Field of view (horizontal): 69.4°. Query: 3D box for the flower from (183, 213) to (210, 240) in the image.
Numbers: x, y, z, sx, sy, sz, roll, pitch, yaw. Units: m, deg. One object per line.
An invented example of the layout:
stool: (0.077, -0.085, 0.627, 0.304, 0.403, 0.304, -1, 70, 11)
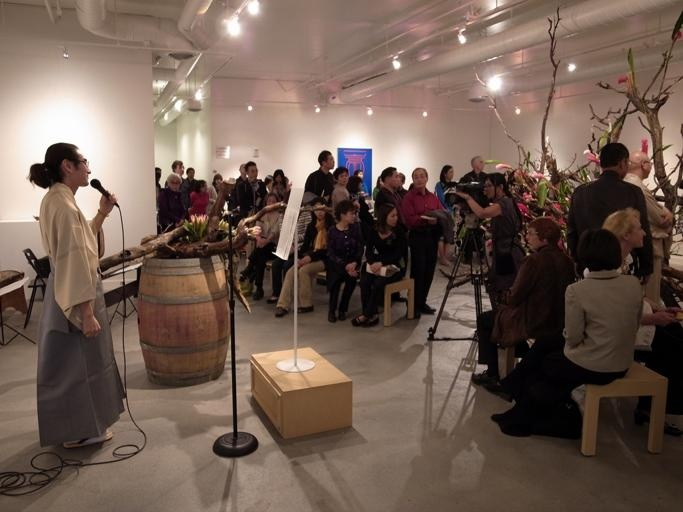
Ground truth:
flower: (-1.183, -0.240, 4.111, 0.186, 0.233, 0.200, -2, 2, -4)

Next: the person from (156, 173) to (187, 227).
person: (-2.692, -0.824, 7.777, 0.433, 0.886, 1.144, -4, 12, -19)

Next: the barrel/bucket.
barrel/bucket: (-1.199, 0.492, 4.233, 0.838, 1.294, 0.942, 1, 6, 3)

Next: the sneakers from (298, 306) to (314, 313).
sneakers: (-0.422, 0.658, 6.003, 0.187, 0.086, 0.071, 4, -2, -30)

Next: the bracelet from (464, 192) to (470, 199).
bracelet: (1.202, -0.570, 4.689, 0.011, 0.051, 0.048, 2, 3, -30)

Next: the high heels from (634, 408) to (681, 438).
high heels: (2.162, 1.141, 3.361, 0.301, 0.139, 0.105, -3, 8, 29)

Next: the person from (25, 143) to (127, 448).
person: (-1.694, 0.266, 3.156, 0.510, 1.922, 0.549, -3, 11, -13)

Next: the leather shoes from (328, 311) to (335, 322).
leather shoes: (-0.102, 0.692, 5.633, 0.085, 0.105, 0.155, 0, 12, -2)

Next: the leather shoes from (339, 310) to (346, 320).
leather shoes: (0.016, 0.694, 5.678, 0.079, 0.098, 0.246, -1, -4, -2)

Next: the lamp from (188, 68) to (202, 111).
lamp: (-3.183, -3.590, 10.702, 0.251, 0.903, 2.709, -3, 12, -16)

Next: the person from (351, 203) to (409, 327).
person: (0.449, 0.095, 5.555, 0.445, 1.298, 0.761, 8, 14, 37)

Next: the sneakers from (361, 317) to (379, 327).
sneakers: (0.326, 0.745, 5.474, 0.076, 0.091, 0.222, -2, -4, 42)

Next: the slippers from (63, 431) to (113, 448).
slippers: (-1.645, 1.218, 3.209, 0.256, 0.075, 0.118, -2, 11, -18)

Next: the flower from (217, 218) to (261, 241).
flower: (-0.843, -0.181, 4.128, 0.317, 0.139, 0.187, 19, 47, 12)

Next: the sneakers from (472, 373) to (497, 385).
sneakers: (1.168, 0.996, 4.005, 0.080, 0.079, 0.184, -3, 2, -43)

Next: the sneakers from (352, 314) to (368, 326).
sneakers: (0.211, 0.724, 5.486, 0.166, 0.067, 0.095, -11, 26, -22)
